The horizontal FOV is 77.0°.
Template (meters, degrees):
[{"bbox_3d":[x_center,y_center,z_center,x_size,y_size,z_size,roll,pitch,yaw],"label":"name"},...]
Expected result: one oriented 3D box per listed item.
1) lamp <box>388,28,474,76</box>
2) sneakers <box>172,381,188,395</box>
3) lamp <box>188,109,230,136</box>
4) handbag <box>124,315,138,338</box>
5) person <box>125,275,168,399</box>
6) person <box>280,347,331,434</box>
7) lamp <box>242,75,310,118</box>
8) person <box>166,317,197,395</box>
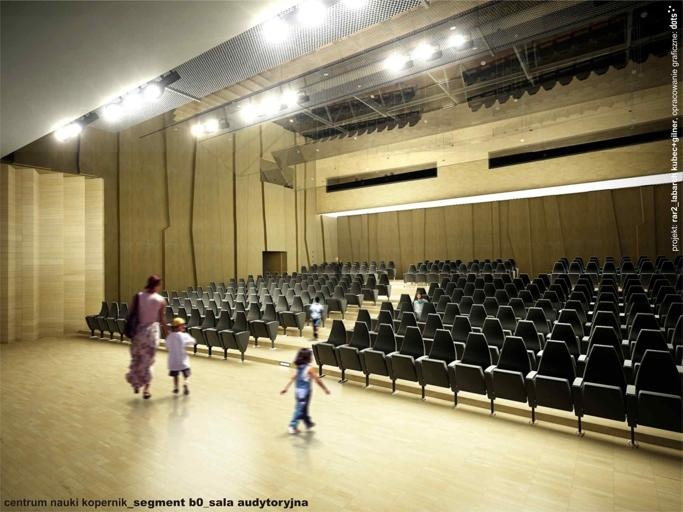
[{"bbox_3d":[1.539,-3.796,7.982,1.606,0.475,0.337,4,11,30],"label":"lamp"},{"bbox_3d":[-2.539,2.125,6.829,0.271,0.175,0.215,7,-28,-22],"label":"sneakers"},{"bbox_3d":[-3.321,-3.354,10.960,0.590,0.391,1.419,-8,12,-35],"label":"lamp"},{"bbox_3d":[-3.155,1.079,6.440,0.268,0.370,0.127,7,13,40],"label":"handbag"},{"bbox_3d":[-2.939,1.246,6.557,0.800,1.953,0.384,1,10,11],"label":"person"},{"bbox_3d":[-0.479,1.721,5.632,0.565,1.107,0.737,-2,10,-3],"label":"person"},{"bbox_3d":[-1.564,-3.428,9.576,1.688,0.607,0.679,4,11,30],"label":"lamp"},{"bbox_3d":[-2.553,1.542,6.836,0.399,1.330,0.710,-6,11,-22],"label":"person"}]
